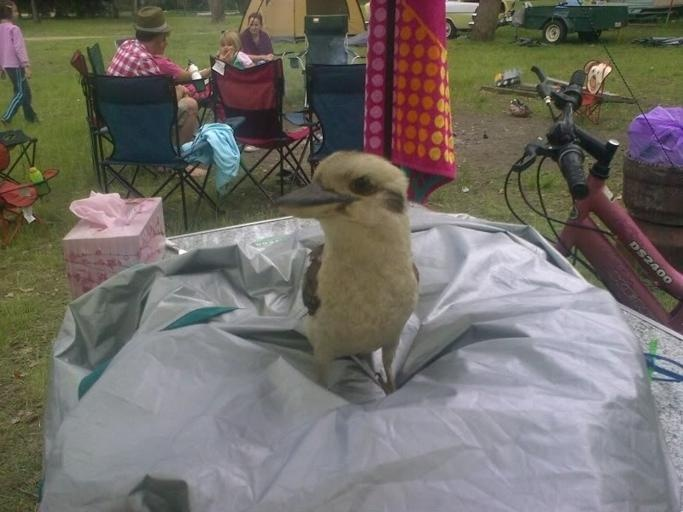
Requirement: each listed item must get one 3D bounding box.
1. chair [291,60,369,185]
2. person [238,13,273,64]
[{"bbox_3d":[-0.033,-1.047,5.870,0.543,1.207,0.720,-1,34,0],"label":"chair"},{"bbox_3d":[-1.051,-2.617,9.881,0.405,0.794,0.354,-9,8,-38],"label":"person"}]
